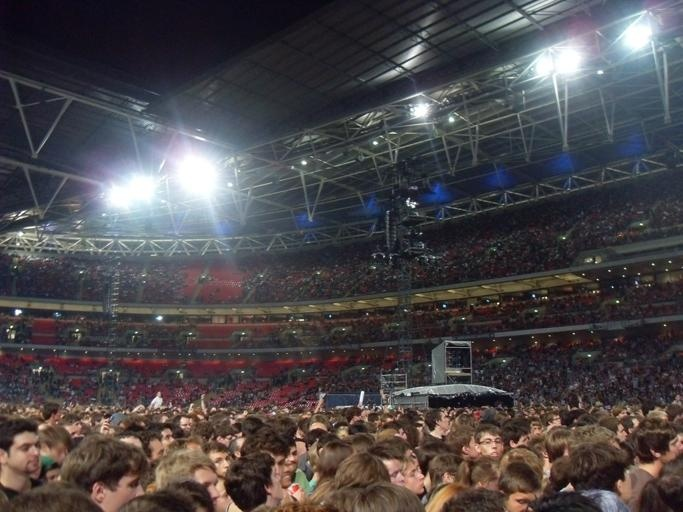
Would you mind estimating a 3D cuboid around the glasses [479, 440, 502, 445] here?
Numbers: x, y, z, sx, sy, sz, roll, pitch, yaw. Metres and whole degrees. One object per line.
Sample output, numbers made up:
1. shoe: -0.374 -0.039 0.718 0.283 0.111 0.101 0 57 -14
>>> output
1. glasses: 2.385 2.933 9.397 0.321 0.088 0.138 -2 -3 -6
